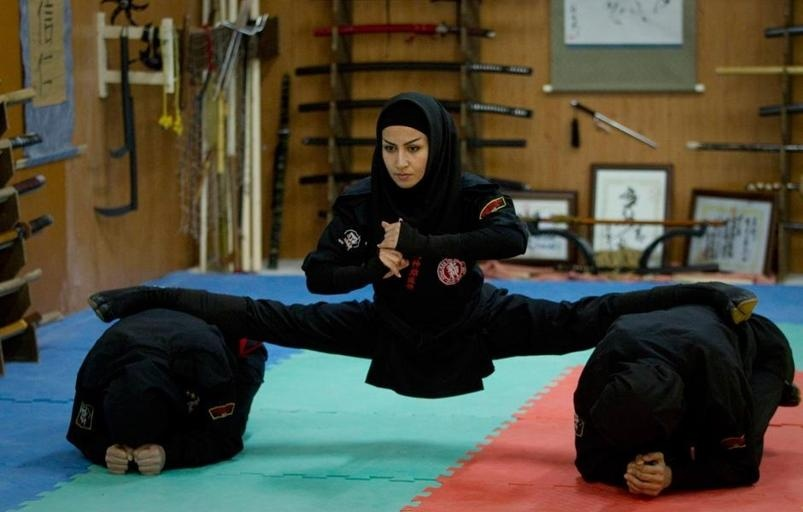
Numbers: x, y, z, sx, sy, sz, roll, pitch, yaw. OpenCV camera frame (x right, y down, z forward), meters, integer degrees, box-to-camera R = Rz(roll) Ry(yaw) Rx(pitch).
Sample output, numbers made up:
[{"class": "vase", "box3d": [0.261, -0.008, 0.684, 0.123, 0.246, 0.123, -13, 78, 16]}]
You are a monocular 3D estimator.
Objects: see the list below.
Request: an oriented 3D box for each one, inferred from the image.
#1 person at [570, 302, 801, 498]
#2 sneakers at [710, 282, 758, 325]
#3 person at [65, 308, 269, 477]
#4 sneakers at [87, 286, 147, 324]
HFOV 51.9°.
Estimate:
[{"class": "person", "box3d": [1.159, 0.558, 3.330, 0.551, 0.437, 0.970, -11, -1, 44]}, {"class": "sneakers", "box3d": [1.355, 0.179, 3.389, 0.161, 0.068, 0.174, 21, 12, -27]}, {"class": "person", "box3d": [-0.986, 0.571, 3.476, 0.551, 0.404, 0.814, -1, 16, 2]}, {"class": "sneakers", "box3d": [-1.247, 0.205, 3.659, 0.239, 0.134, 0.089, -30, -20, -27]}]
